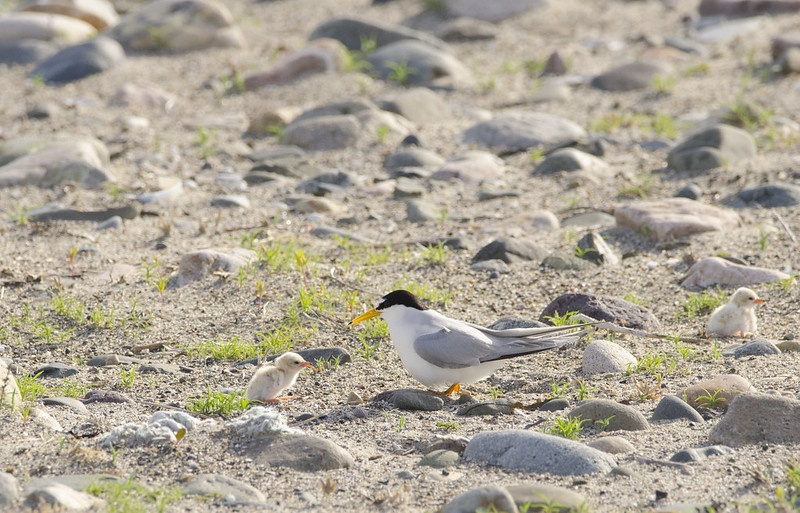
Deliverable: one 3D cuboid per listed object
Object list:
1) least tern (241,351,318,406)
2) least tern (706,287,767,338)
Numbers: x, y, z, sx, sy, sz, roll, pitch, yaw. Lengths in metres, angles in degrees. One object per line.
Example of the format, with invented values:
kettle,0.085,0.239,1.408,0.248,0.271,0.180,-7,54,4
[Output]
least tern,-1.097,1.129,9.950,0.618,0.442,0.292,-30,44,-31
least tern,3.340,0.554,10.897,0.494,0.447,0.622,-7,2,-34
